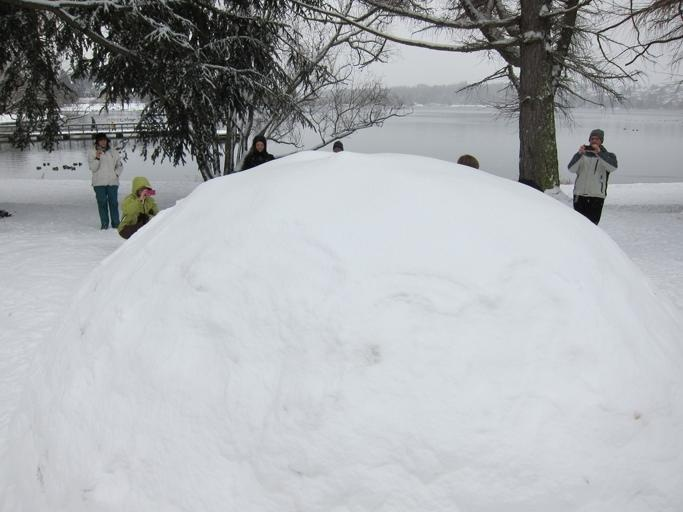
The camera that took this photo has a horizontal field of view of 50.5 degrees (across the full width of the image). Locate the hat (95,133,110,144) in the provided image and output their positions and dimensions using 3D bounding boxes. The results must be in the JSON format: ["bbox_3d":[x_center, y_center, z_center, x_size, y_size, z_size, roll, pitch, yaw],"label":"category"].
[{"bbox_3d":[-3.769,-1.859,11.425,0.155,0.155,0.169,-7,10,-21],"label":"hat"}]

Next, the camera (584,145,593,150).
[{"bbox_3d":[3.446,-1.516,10.129,0.117,0.059,0.059,5,13,23],"label":"camera"}]

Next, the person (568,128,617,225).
[{"bbox_3d":[3.545,-1.048,10.324,0.645,1.462,2.130,4,13,20],"label":"person"}]

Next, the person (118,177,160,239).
[{"bbox_3d":[-2.678,-0.615,9.555,0.500,0.825,0.525,-3,11,-18],"label":"person"}]

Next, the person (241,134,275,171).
[{"bbox_3d":[-1.372,-1.710,11.905,0.405,0.547,0.865,-1,12,-3],"label":"person"}]

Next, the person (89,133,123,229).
[{"bbox_3d":[-3.771,-1.214,11.674,0.485,1.511,0.929,-3,11,-19],"label":"person"}]
